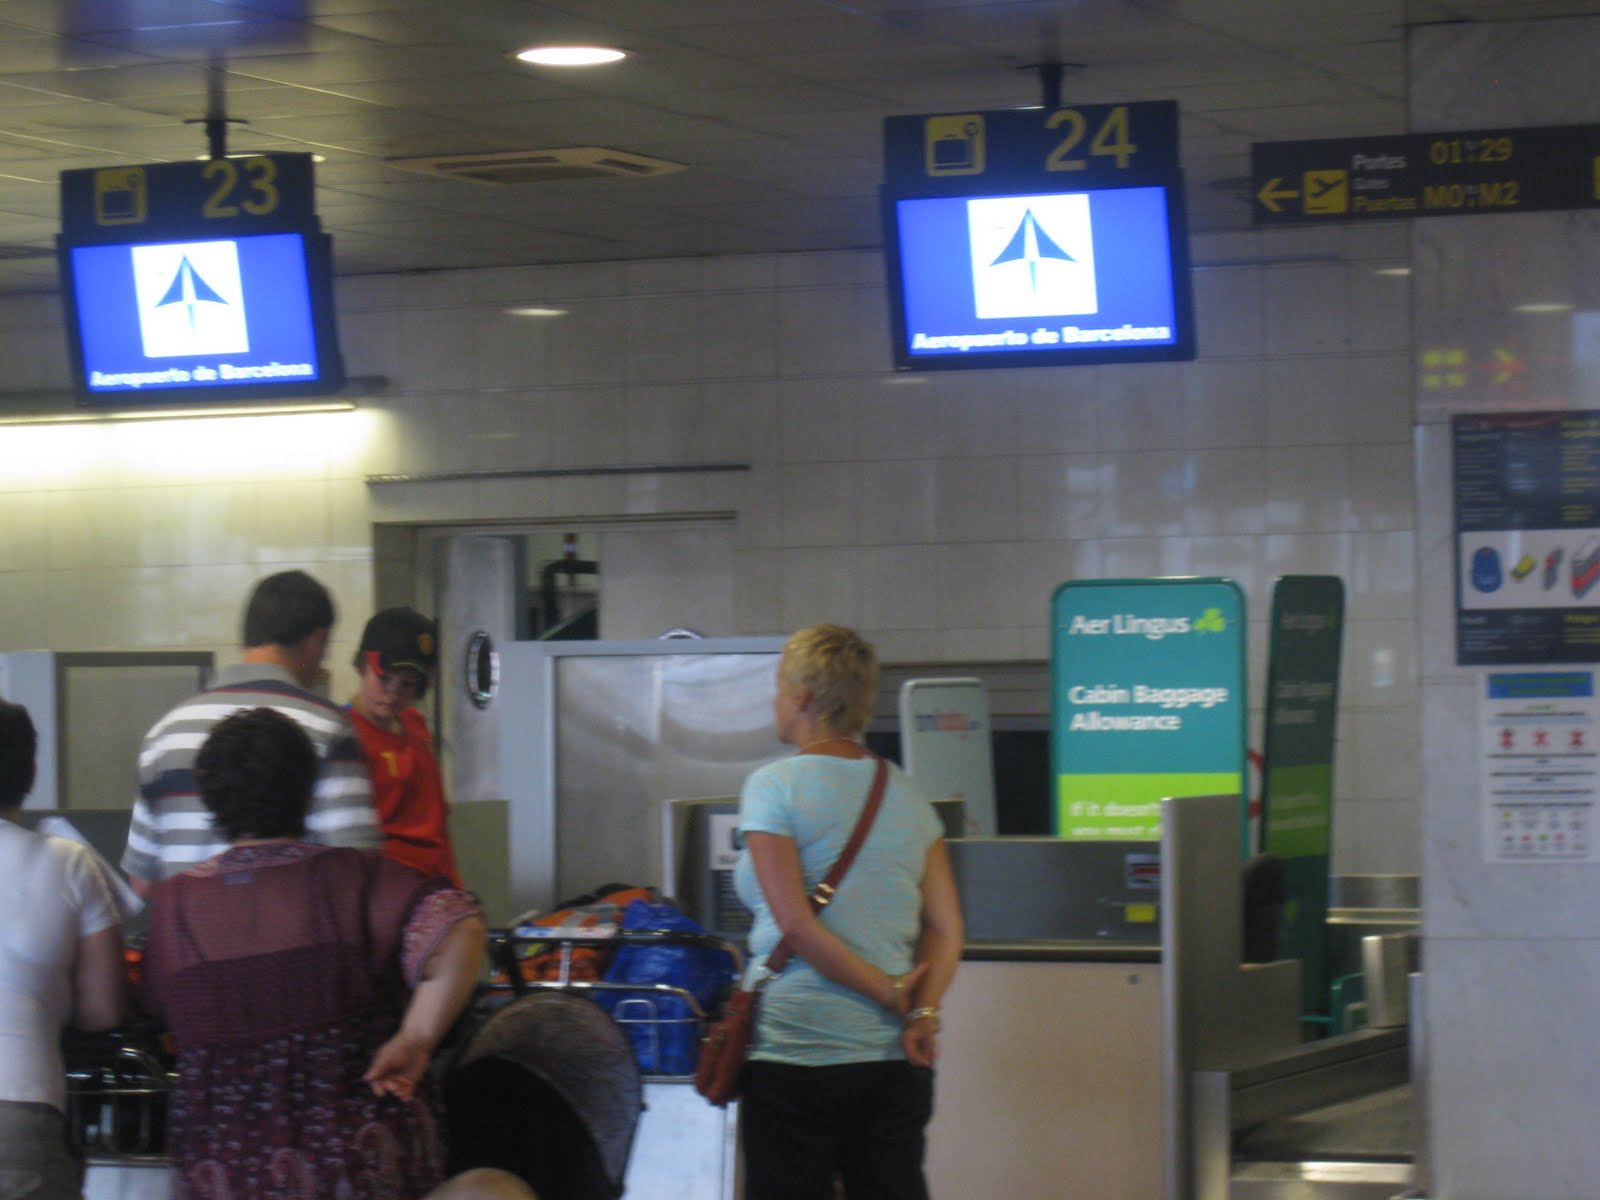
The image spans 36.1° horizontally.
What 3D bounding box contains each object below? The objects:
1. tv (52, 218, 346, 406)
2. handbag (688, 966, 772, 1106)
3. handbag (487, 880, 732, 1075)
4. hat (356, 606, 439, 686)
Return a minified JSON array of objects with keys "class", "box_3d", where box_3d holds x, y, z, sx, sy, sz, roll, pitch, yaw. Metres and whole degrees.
[{"class":"tv","box_3d":[-1.952,-0.942,7.904,0.726,0.397,0.071,-1,25,10]},{"class":"handbag","box_3d":[-0.156,1.025,5.798,0.087,0.310,0.190,16,5,-35]},{"class":"handbag","box_3d":[-0.453,0.958,6.250,0.586,0.373,0.713,-1,2,-2]},{"class":"hat","box_3d":[-1.138,0.118,6.908,0.170,0.126,0.233,12,-5,-29]}]
